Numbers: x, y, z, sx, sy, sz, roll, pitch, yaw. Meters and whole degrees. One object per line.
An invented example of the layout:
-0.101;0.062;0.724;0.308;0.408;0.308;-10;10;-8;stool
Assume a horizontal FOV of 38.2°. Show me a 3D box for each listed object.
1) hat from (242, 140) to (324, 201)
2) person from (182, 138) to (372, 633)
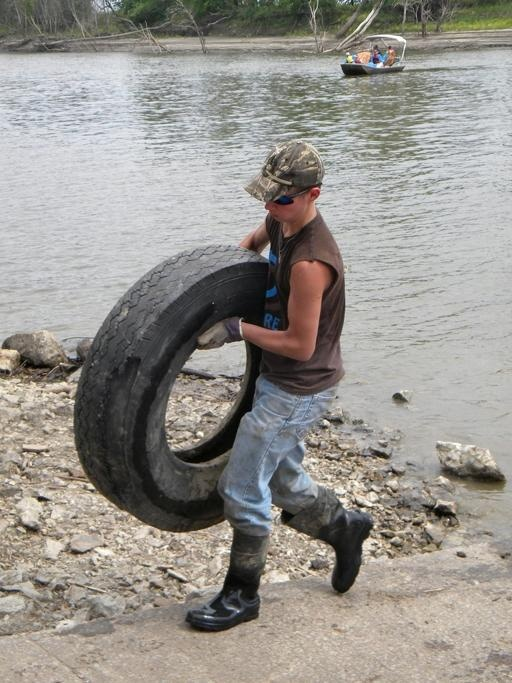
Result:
0.112;-0.634;2.735;0.285;0.260;0.195;6;6;-11;hat
0.090;0.182;2.999;0.525;1.893;0.683;14;8;34;person
